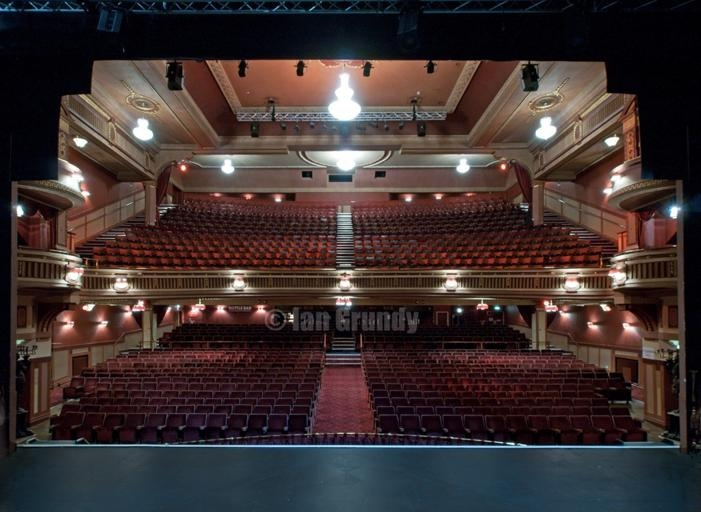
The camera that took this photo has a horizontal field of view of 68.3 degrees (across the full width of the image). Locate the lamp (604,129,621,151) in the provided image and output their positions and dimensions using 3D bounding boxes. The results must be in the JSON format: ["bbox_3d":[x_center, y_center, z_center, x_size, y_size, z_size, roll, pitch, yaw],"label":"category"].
[{"bbox_3d":[7.180,-3.281,14.212,0.396,0.171,0.482,4,-21,1],"label":"lamp"}]
